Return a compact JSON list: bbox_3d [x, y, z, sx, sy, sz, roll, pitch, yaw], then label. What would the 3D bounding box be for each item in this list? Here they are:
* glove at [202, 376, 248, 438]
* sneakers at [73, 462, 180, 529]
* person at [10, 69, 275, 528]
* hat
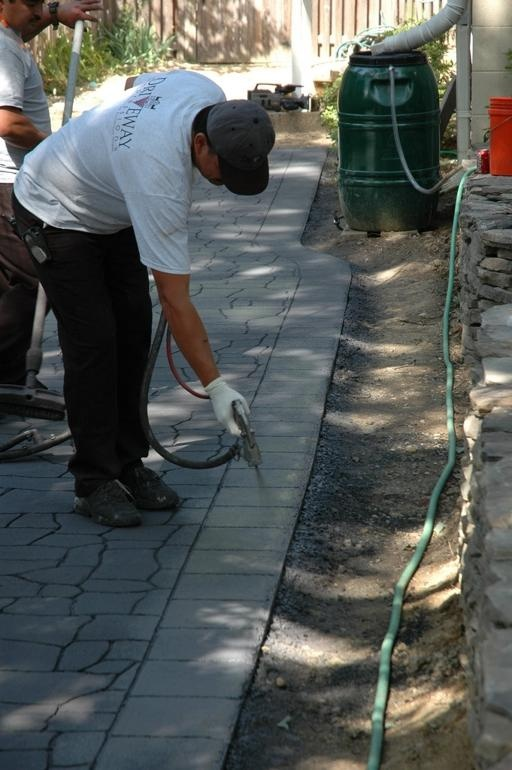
[{"bbox_3d":[-0.092,0.065,2.375,0.119,0.195,0.067,-39,19,-21],"label":"glove"},{"bbox_3d":[-0.466,0.405,2.756,0.226,0.094,0.292,-4,1,-42],"label":"sneakers"},{"bbox_3d":[-0.353,-0.239,2.498,0.509,1.542,1.024,-22,21,-39],"label":"person"},{"bbox_3d":[-0.043,-0.662,2.158,0.211,0.265,0.170,-16,1,-31],"label":"hat"}]
